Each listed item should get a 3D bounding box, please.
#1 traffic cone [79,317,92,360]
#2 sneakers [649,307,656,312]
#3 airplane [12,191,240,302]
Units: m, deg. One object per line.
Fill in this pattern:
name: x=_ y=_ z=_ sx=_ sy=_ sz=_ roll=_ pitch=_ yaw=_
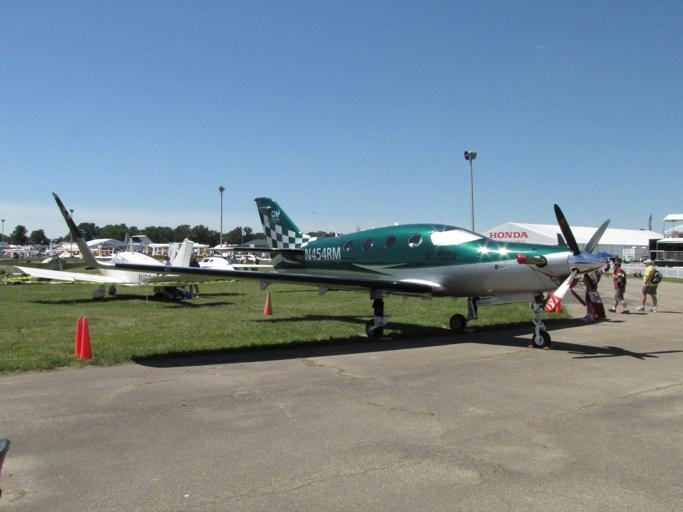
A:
traffic cone: x=-4.607 y=1.460 z=9.269 sx=0.238 sy=0.674 sz=0.666 roll=-6 pitch=11 yaw=-26
sneakers: x=10.627 y=1.822 z=17.776 sx=0.149 sy=0.152 sz=0.386 roll=-2 pitch=-7 yaw=8
airplane: x=-19.269 y=-0.164 z=48.392 sx=11.495 sy=4.525 sz=13.902 roll=7 pitch=3 yaw=38
